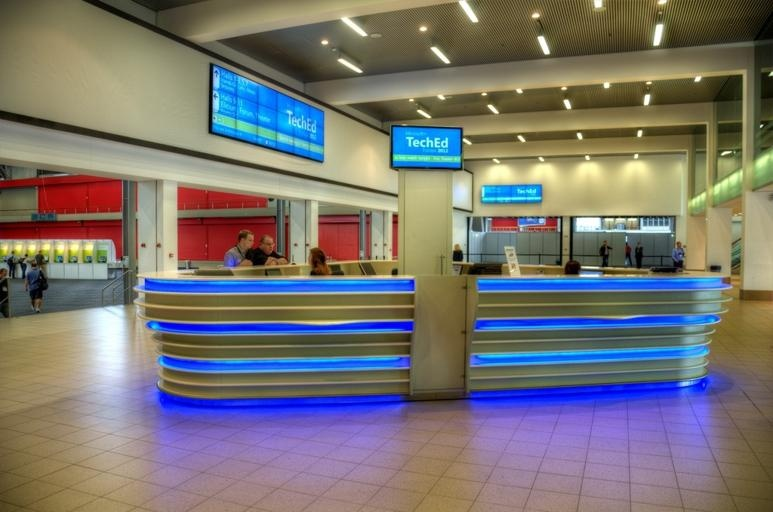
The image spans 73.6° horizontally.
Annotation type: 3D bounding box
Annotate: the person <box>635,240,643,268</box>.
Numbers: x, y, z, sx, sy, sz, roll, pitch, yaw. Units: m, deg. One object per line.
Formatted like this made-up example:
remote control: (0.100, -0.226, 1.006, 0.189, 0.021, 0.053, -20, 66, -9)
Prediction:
person: (11.112, -0.052, 22.717, 0.290, 1.078, 1.127, 5, 12, 25)

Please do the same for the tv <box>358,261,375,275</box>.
tv: (-0.433, 0.283, 11.766, 0.086, 0.273, 0.413, -30, -10, 16)

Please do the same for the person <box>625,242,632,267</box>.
person: (11.102, -0.084, 23.615, 0.432, 1.096, 0.272, -9, 14, -38)

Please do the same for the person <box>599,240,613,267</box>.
person: (9.967, -0.113, 23.567, 0.432, 1.186, 0.746, 7, 13, 33)
